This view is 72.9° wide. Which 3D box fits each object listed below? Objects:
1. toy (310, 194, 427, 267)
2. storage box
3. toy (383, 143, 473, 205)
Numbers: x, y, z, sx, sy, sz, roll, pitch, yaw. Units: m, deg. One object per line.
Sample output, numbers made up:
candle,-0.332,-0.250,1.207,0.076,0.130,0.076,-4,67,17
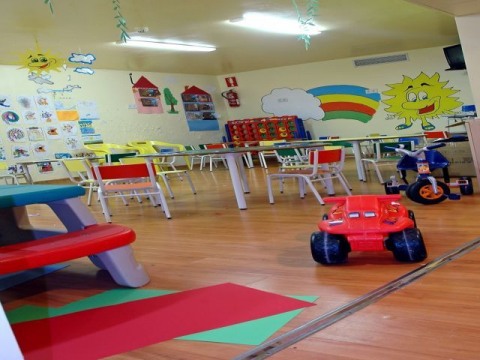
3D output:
toy,0.728,0.273,1.816,0.516,0.200,0.629,-3,-1,16
storage box,2.458,-0.234,3.750,0.791,0.314,0.349,-2,-1,4
toy,1.947,-0.049,3.360,0.819,0.410,0.903,-3,-1,27
